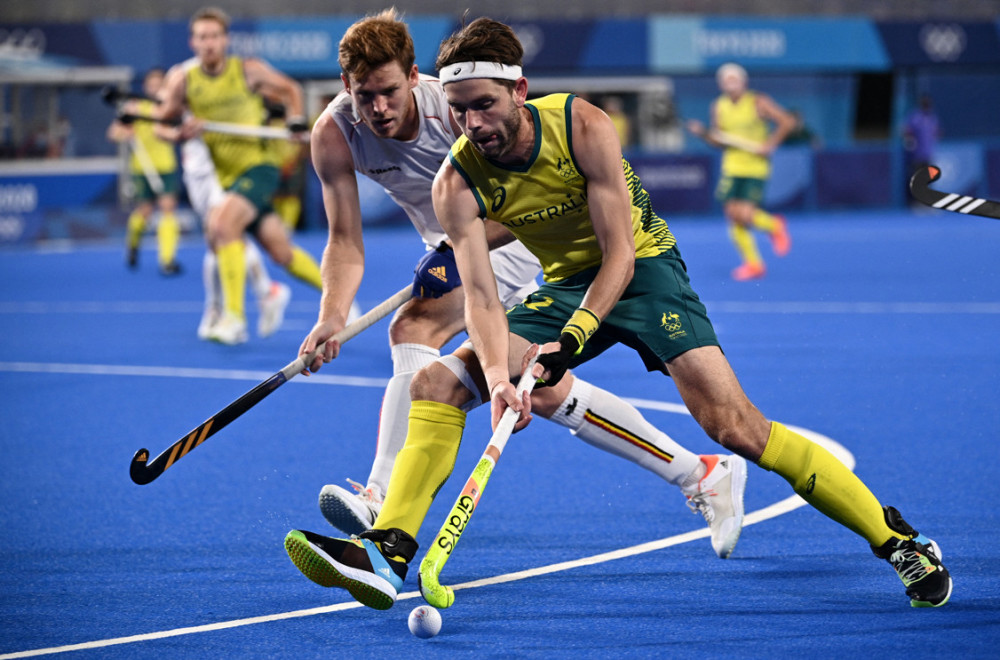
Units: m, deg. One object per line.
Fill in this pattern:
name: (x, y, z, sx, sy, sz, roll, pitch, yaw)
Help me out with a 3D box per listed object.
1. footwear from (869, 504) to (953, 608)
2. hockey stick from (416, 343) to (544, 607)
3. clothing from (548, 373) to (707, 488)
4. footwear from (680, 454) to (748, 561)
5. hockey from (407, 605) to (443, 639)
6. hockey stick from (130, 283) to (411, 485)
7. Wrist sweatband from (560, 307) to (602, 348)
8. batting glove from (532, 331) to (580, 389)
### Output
footwear: (1.733, 0.981, 5.161, 0.161, 0.332, 0.488, -39, 2, 23)
hockey stick: (-0.026, 0.465, 5.278, 0.266, 0.212, 1.582, 24, 45, 5)
clothing: (0.627, 0.537, 6.153, 0.203, 0.750, 0.225, -53, 10, 30)
footwear: (0.976, 0.782, 5.637, 0.258, 0.542, 0.193, -3, -10, -7)
hockey: (-0.307, 1.176, 4.991, 0.139, 0.156, 0.185, -2, 14, -3)
hockey stick: (-1.420, 0.361, 7.552, 1.760, 0.152, 0.252, -35, 33, -11)
Wrist sweatband: (0.341, -0.011, 5.252, 0.153, 0.138, 0.169, -29, 0, -7)
batting glove: (0.241, 0.130, 5.167, 0.245, 0.141, 0.101, -38, -15, -11)
